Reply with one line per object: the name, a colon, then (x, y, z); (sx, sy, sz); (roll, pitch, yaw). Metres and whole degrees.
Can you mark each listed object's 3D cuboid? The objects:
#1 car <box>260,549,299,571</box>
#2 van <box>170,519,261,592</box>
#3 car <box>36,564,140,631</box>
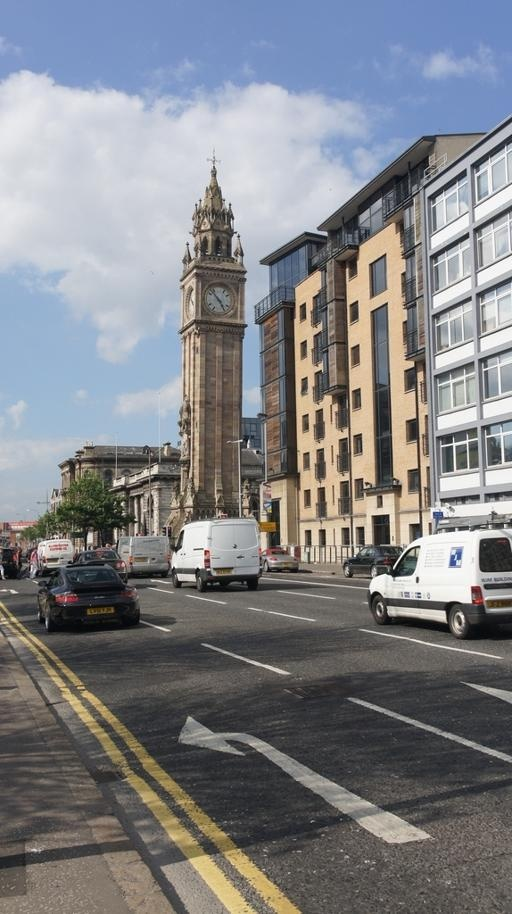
car: (1.071, 4.953, 43.270); (1.244, 0.948, 2.157); (1, -5, -30)
van: (-1.338, 2.877, 27.557); (1.892, 2.241, 4.155); (-1, -4, -19)
car: (-2.971, 2.530, 16.339); (1.654, 1.155, 1.221); (-2, -4, 3)
